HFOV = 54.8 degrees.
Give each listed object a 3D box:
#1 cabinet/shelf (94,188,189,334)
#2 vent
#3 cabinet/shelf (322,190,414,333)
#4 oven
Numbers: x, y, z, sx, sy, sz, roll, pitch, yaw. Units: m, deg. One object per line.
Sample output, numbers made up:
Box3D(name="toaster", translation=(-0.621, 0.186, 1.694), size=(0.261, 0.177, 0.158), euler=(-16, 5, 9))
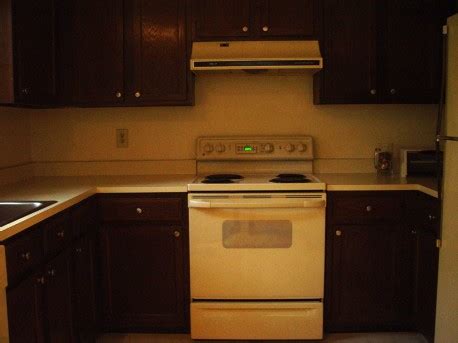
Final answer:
Box3D(name="cabinet/shelf", translation=(-0.605, 0.548, 3.394), size=(0.786, 1.065, 0.817), euler=(-9, 19, -30))
Box3D(name="vent", translation=(0.203, -0.837, 3.178), size=(0.952, 0.240, 0.146), euler=(1, 6, 1))
Box3D(name="cabinet/shelf", translation=(0.985, 0.552, 3.369), size=(0.557, 1.014, 0.657), euler=(-1, 11, 8))
Box3D(name="oven", translation=(0.184, 0.649, 3.467), size=(1.128, 1.416, 0.919), euler=(-1, -2, 1))
